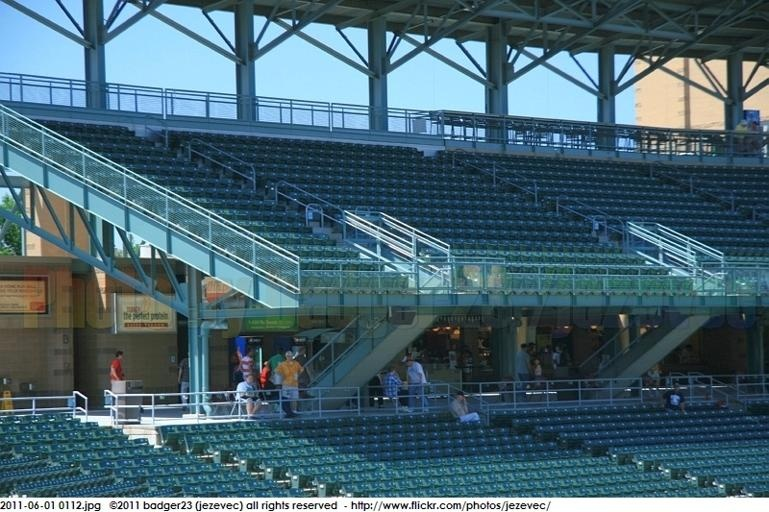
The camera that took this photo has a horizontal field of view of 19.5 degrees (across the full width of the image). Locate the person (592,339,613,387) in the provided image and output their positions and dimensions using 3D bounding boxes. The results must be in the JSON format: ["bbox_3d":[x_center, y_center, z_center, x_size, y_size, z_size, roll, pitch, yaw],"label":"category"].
[{"bbox_3d":[7.517,3.628,77.799,0.561,1.205,0.467,-4,-6,31],"label":"person"}]

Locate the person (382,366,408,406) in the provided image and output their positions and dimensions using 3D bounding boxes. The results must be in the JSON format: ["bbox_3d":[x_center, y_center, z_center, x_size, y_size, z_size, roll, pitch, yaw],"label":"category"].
[{"bbox_3d":[0.298,4.365,74.322,0.753,1.313,0.547,0,-5,-13],"label":"person"}]

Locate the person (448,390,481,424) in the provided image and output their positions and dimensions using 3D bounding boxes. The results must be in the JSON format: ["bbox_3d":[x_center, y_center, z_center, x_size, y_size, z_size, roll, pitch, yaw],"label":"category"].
[{"bbox_3d":[2.672,5.180,74.097,0.985,1.387,0.625,-7,-6,0],"label":"person"}]

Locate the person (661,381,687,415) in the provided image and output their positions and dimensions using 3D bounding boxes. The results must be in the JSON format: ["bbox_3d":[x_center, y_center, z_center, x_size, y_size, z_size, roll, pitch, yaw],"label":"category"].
[{"bbox_3d":[9.785,4.868,76.056,0.707,1.005,0.591,-2,-5,5],"label":"person"}]
